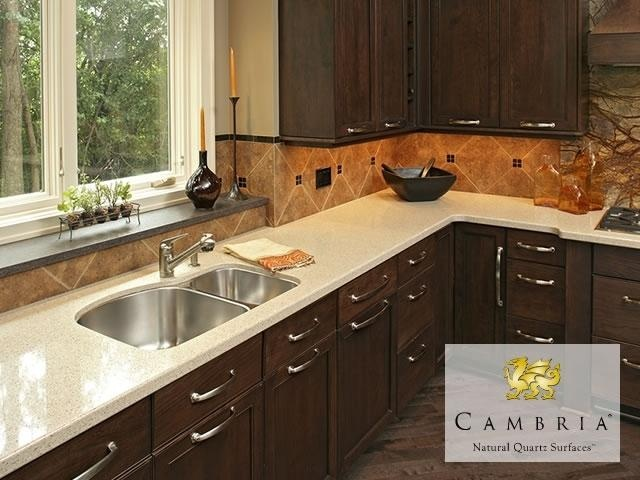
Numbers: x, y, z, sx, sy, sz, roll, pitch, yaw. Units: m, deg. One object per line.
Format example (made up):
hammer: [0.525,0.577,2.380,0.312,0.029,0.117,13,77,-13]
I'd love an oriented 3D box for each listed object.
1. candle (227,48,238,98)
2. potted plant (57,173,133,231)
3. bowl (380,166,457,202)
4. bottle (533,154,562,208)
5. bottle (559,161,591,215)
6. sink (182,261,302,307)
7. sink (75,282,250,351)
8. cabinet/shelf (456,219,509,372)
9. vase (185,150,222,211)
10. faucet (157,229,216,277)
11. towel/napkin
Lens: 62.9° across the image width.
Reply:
candle: [-0.485,-0.934,2.898,0.053,0.274,0.219,-6,14,-8]
potted plant: [-1.051,-0.189,2.492,0.402,0.215,0.298,-15,18,-35]
bowl: [0.677,-0.402,3.632,0.476,0.261,0.385,-2,15,7]
bottle: [1.474,-0.382,3.388,0.155,0.330,0.145,-4,14,1]
bottle: [1.588,-0.321,3.276,0.193,0.283,0.200,-4,14,1]
sink: [-0.398,0.160,2.332,0.233,0.122,0.311,13,18,33]
sink: [-0.659,0.328,2.156,0.327,0.175,0.424,15,16,33]
cabinet/shelf: [1.002,0.293,3.288,0.296,0.777,0.108,2,15,22]
vase: [-0.606,-0.326,2.790,0.163,0.307,0.227,1,15,19]
faucet: [-0.600,0.053,2.303,0.230,0.190,0.325,-9,16,-18]
towel/napkin: [-0.252,0.066,2.456,0.261,0.046,0.191,16,23,43]
